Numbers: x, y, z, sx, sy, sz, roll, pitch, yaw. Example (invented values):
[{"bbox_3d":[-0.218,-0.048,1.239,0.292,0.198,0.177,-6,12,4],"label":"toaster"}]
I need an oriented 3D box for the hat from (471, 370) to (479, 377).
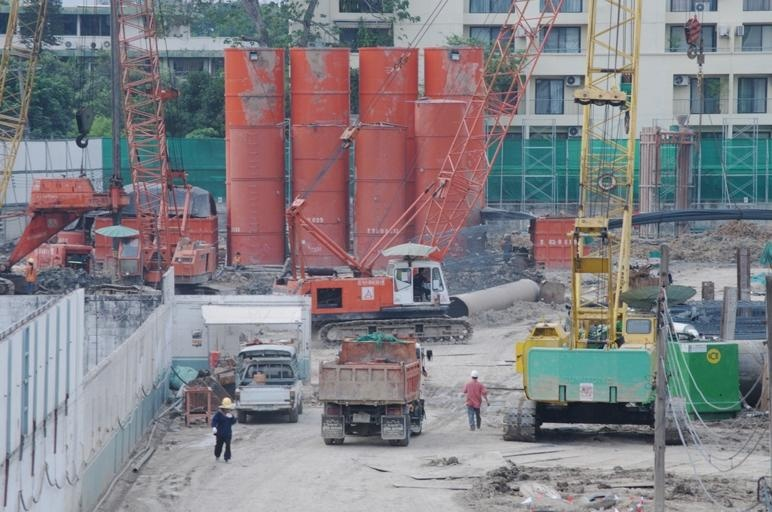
[{"bbox_3d":[3.950,5.170,83.170,0.248,0.211,0.385,1,7,0],"label":"hat"}]

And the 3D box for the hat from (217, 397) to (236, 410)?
[{"bbox_3d":[-6.669,6.266,80.611,0.609,0.325,0.817,0,-3,-9],"label":"hat"}]

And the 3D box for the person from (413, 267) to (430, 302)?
[{"bbox_3d":[1.868,1.429,94.600,0.833,1.650,0.317,-1,5,-1],"label":"person"}]

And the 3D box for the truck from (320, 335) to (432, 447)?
[{"bbox_3d":[-0.502,5.755,81.631,3.025,3.051,5.580,1,3,9],"label":"truck"}]

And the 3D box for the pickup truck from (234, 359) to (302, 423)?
[{"bbox_3d":[-5.084,5.837,84.302,2.744,2.470,5.121,0,4,-1],"label":"pickup truck"}]

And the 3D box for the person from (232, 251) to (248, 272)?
[{"bbox_3d":[-8.176,0.252,106.497,0.684,0.997,0.393,-1,5,6],"label":"person"}]
